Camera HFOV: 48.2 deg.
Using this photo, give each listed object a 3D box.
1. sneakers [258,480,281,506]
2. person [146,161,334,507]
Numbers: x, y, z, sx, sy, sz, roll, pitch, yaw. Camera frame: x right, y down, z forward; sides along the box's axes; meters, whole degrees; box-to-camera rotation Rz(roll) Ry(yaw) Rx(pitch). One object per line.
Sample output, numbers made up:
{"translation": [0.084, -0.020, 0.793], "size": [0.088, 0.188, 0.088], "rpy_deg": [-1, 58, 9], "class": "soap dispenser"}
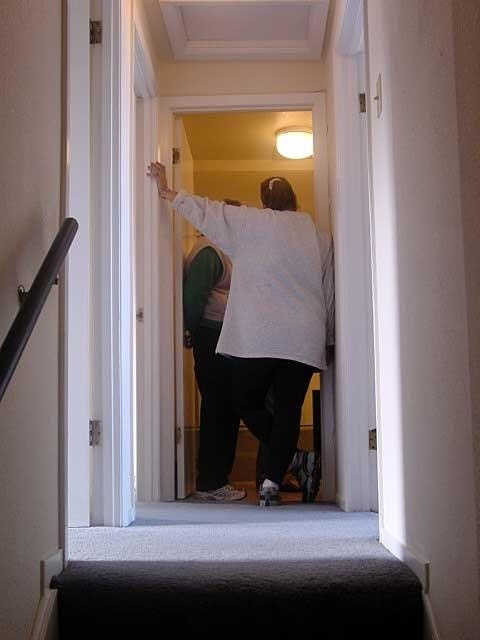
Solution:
{"translation": [0.136, 0.795, 2.479], "size": [0.091, 0.118, 0.127], "rpy_deg": [-1, -8, 3], "class": "sneakers"}
{"translation": [0.042, 0.056, 2.728], "size": [0.648, 1.770, 0.454], "rpy_deg": [0, -5, -27], "class": "person"}
